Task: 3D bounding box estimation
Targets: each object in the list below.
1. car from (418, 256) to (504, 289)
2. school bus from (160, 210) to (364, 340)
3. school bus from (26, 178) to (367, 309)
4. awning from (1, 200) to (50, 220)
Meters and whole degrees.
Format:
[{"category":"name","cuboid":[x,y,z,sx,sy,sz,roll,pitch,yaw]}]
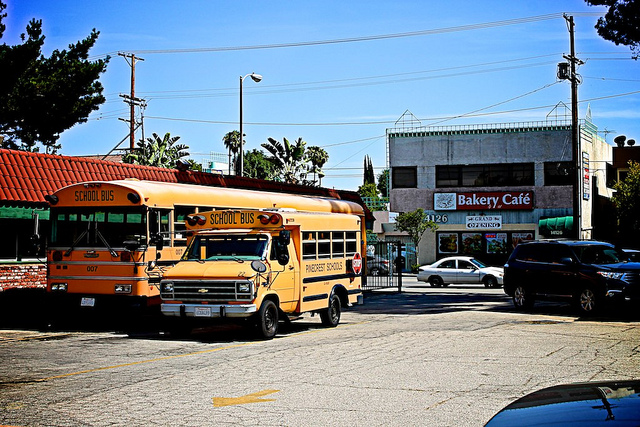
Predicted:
[{"category":"car","cuboid":[8.076,3.376,40.065,4.316,1.417,1.810,-2,-1,15]},{"category":"school bus","cuboid":[-1.608,1.677,21.756,3.995,3.322,7.140,0,-2,24]},{"category":"school bus","cuboid":[-3.532,0.819,24.448,4.442,3.532,11.909,-3,-5,42]},{"category":"awning","cuboid":[-9.794,-0.133,23.122,1.082,0.281,0.992,4,-14,-22]}]
